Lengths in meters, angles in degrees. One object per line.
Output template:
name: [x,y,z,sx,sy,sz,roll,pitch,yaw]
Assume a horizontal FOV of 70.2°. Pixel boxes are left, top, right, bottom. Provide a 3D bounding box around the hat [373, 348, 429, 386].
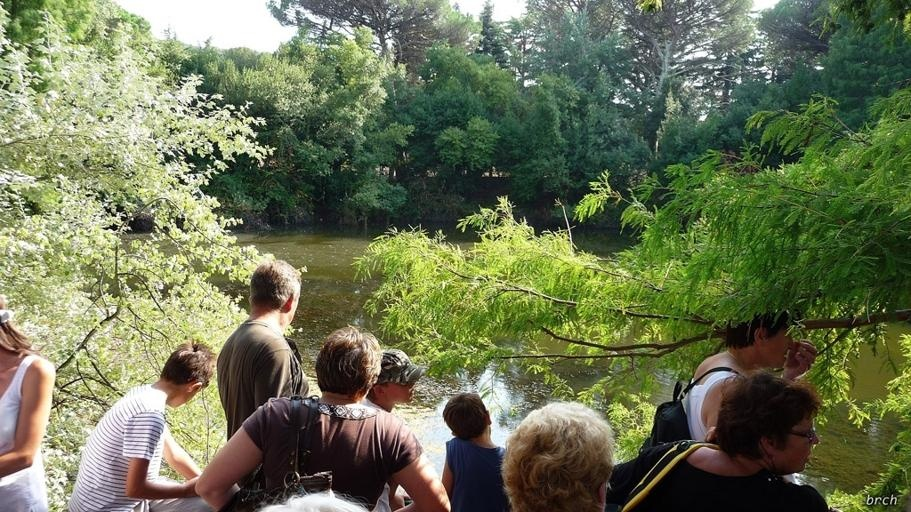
hat: [-0.515,0.999,5.830,0.401,0.199,0.270,-3,6,2]
